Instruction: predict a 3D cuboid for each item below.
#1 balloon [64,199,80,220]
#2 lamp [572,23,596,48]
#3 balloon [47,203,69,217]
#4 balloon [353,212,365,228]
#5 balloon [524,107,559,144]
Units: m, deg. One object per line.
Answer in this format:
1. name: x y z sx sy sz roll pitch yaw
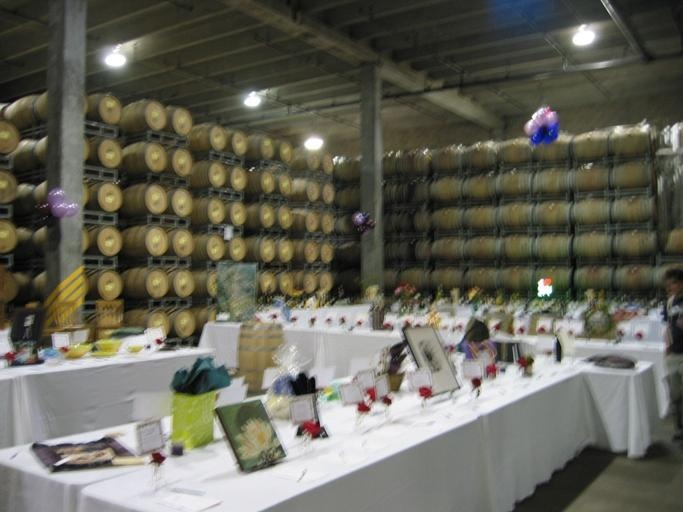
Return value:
1. balloon: -3.630 -0.604 7.354 0.169 0.153 0.178 2 -3 -41
2. lamp: 4.141 -3.858 9.383 0.295 0.422 0.604 -3 -1 28
3. balloon: -3.774 -0.568 7.294 0.178 0.162 0.181 -1 -1 38
4. balloon: 0.333 -0.649 10.373 0.219 0.274 0.402 -3 -1 2
5. balloon: 3.758 -2.416 10.207 0.412 0.746 0.603 -2 -1 -19
